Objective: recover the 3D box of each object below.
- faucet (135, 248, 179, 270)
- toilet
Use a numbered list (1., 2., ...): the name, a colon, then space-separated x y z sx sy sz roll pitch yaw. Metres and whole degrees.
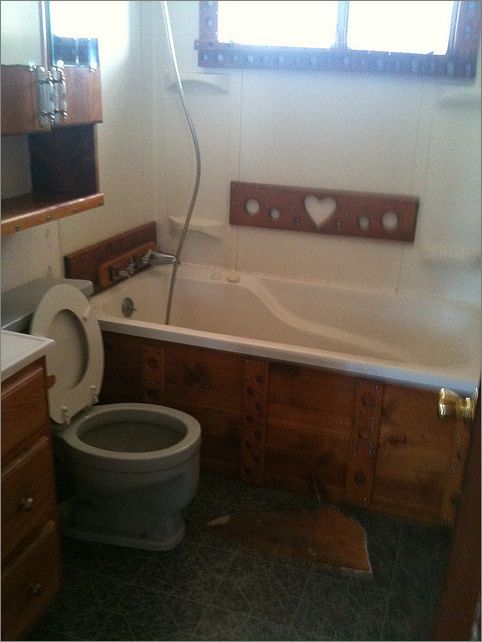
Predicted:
1. faucet: -0.437 -0.319 2.670 0.158 0.090 0.066 6 67 6
2. toilet: -0.359 0.309 1.670 0.471 0.825 0.397 4 14 6
